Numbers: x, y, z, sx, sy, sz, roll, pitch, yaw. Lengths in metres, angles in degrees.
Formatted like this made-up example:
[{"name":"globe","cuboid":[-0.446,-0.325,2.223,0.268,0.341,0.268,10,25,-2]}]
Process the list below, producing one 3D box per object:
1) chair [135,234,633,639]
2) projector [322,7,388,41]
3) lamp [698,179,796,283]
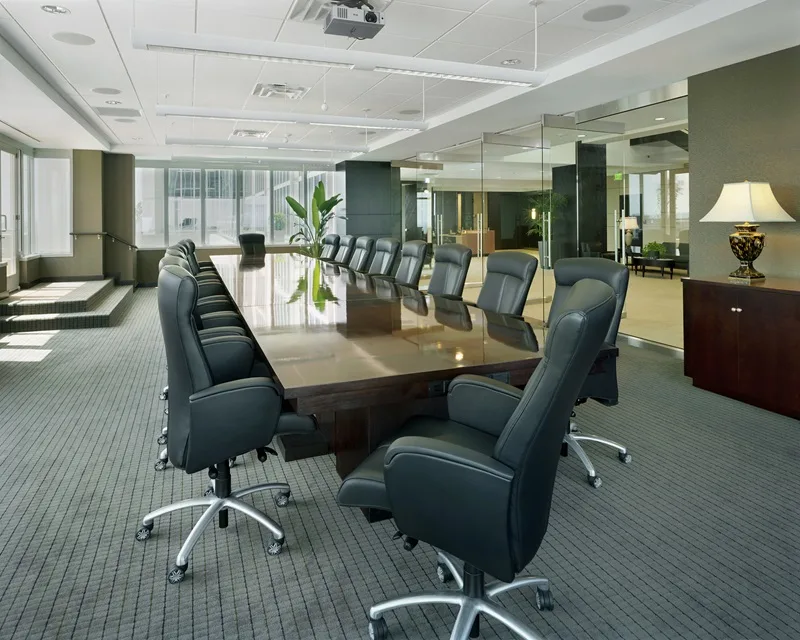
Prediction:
[{"name":"chair","cuboid":[0.042,0.424,3.049,2.537,1.767,1.073,5,6,41]},{"name":"projector","cuboid":[-0.353,-2.232,4.136,0.435,0.189,0.306,-1,11,-8]},{"name":"lamp","cuboid":[3.052,-0.657,5.031,0.802,0.972,0.961,-1,1,-14]}]
